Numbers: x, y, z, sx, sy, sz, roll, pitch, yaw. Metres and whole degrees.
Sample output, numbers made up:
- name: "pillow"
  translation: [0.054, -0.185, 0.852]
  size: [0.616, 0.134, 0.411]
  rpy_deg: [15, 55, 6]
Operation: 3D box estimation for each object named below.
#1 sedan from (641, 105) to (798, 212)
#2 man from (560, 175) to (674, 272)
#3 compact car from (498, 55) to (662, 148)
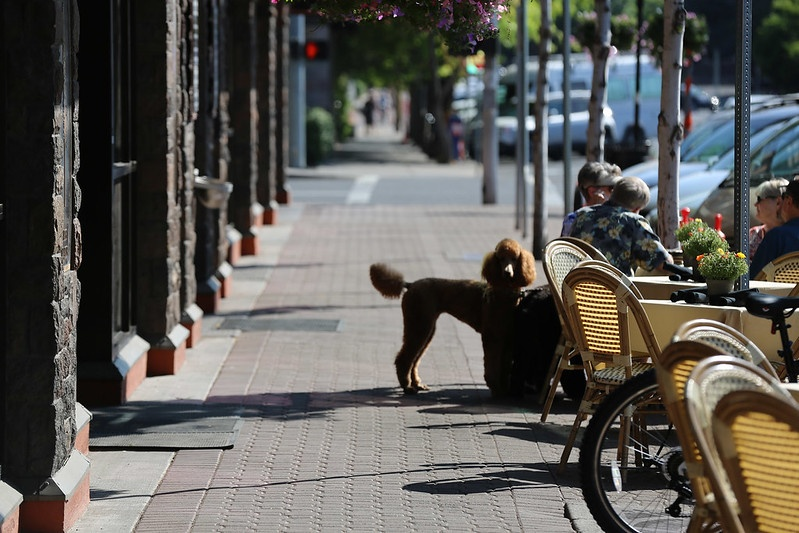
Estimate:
- name: "sedan"
  translation: [4.217, -1.424, 19.212]
  size: [2.701, 0.916, 1.251]
  rpy_deg: [-7, 7, -8]
- name: "man"
  translation: [1.763, -0.338, 11.784]
  size: [0.539, 0.910, 0.729]
  rpy_deg: [-12, 30, -38]
- name: "compact car"
  translation: [5.649, -4.794, 41.249]
  size: [5.417, 2.931, 3.302]
  rpy_deg: [1, 4, -1]
